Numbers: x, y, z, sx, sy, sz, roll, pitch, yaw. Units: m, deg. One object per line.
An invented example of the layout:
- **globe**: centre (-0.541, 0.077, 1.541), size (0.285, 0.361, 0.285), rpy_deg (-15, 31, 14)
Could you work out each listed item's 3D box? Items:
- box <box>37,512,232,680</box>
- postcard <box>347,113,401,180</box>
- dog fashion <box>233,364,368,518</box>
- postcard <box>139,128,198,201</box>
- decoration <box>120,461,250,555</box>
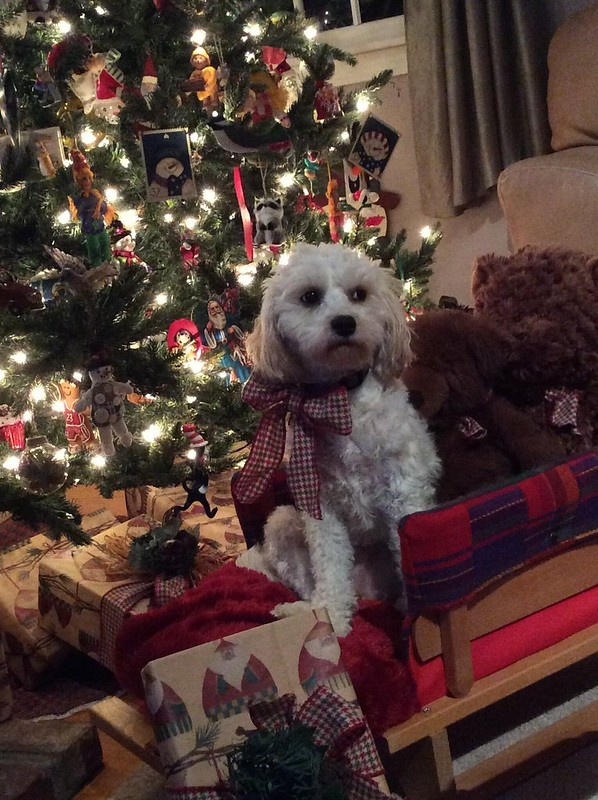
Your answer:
- **box**: centre (-0.315, 0.425, 1.623), size (0.386, 0.178, 0.393), rpy_deg (22, 40, 39)
- **postcard**: centre (0.248, -0.864, 2.438), size (0.052, 0.257, 0.274), rpy_deg (20, 48, 30)
- **dog fashion**: centre (0.006, 0.076, 1.174), size (0.190, 0.234, 0.075), rpy_deg (7, -11, 28)
- **postcard**: centre (-0.316, -0.568, 1.688), size (0.117, 0.115, 0.069), rpy_deg (-11, 7, -15)
- **decoration**: centre (-0.258, 0.290, 1.820), size (0.241, 0.053, 0.239), rpy_deg (-11, 14, -31)
